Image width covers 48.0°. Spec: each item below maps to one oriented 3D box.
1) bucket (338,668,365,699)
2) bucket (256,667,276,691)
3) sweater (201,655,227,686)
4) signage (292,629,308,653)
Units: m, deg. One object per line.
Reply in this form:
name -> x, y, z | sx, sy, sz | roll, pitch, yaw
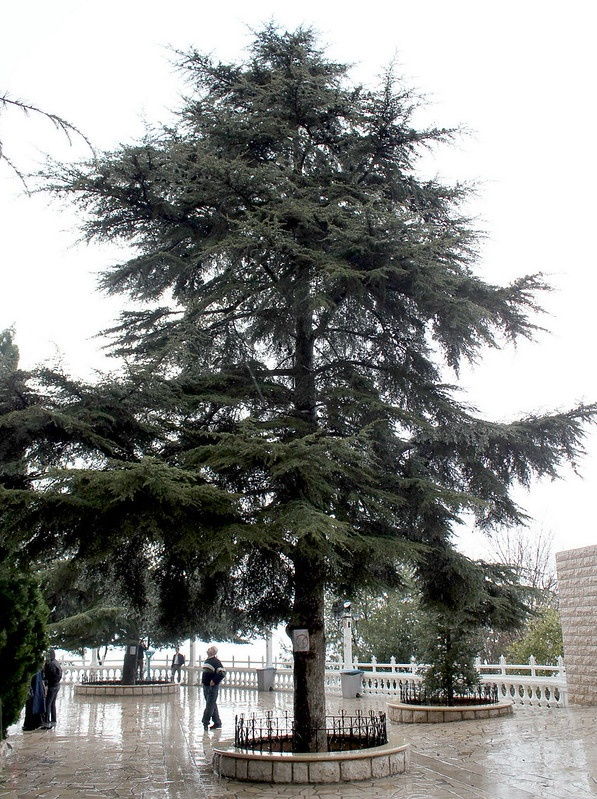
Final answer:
bucket -> 1.559, 8.547, 20.231 | 0.887, 0.962, 0.811 | 1, -21, 1
bucket -> -1.082, 10.048, 23.988 | 0.745, 0.742, 0.699 | -2, -17, 0
sweater -> -1.630, 5.273, 12.934 | 0.398, 0.567, 0.499 | 1, -17, -10
signage -> 0.001, 3.377, 9.407 | 0.302, 0.296, 0.277 | 1, -11, -6
